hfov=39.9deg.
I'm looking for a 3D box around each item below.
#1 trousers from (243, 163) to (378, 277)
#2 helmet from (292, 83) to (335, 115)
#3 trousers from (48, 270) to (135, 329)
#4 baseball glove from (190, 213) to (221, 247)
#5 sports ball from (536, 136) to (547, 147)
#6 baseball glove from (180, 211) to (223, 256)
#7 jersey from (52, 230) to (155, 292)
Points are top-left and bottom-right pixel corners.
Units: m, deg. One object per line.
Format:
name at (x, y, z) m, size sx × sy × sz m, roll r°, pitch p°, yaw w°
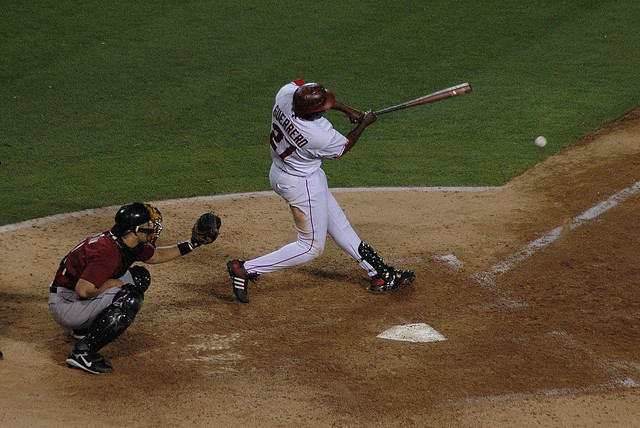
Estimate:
trousers at (-0.103, 0.124, 11.440) m, size 1.559 × 1.454 × 0.902 m, roll -4°, pitch 47°, yaw -6°
helmet at (-0.080, -1.404, 10.922) m, size 0.517 × 0.366 × 0.341 m, roll 2°, pitch 44°, yaw 0°
trousers at (-2.758, 1.078, 10.463) m, size 0.779 × 0.204 × 0.551 m, roll -6°, pitch 5°, yaw -15°
baseball glove at (-1.421, 0.191, 10.941) m, size 0.372 × 0.426 × 0.230 m, roll -5°, pitch 47°, yaw -7°
sports ball at (3.623, -1.181, 14.327) m, size 0.189 × 0.104 × 0.178 m, roll -1°, pitch 19°, yaw 0°
baseball glove at (-1.575, 0.281, 11.760) m, size 0.838 × 0.556 × 0.485 m, roll -3°, pitch -10°, yaw 44°
jersey at (-2.630, 0.526, 10.490) m, size 0.604 × 0.565 × 0.954 m, roll 27°, pitch 48°, yaw 24°
